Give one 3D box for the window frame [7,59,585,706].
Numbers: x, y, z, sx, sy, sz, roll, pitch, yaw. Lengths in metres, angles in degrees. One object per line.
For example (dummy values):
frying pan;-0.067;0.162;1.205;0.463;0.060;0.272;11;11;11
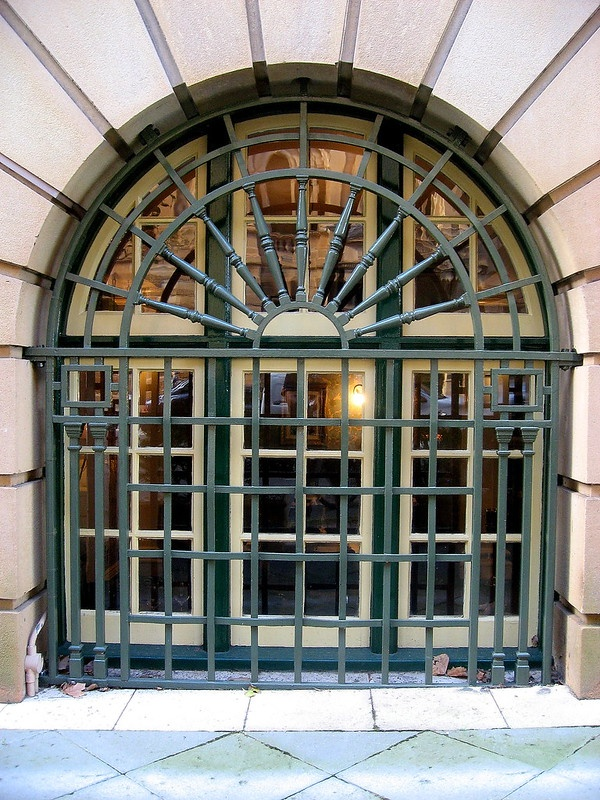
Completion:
window frame;0.005;-0.191;5.307;4.164;3.847;0.261;0;0;0
